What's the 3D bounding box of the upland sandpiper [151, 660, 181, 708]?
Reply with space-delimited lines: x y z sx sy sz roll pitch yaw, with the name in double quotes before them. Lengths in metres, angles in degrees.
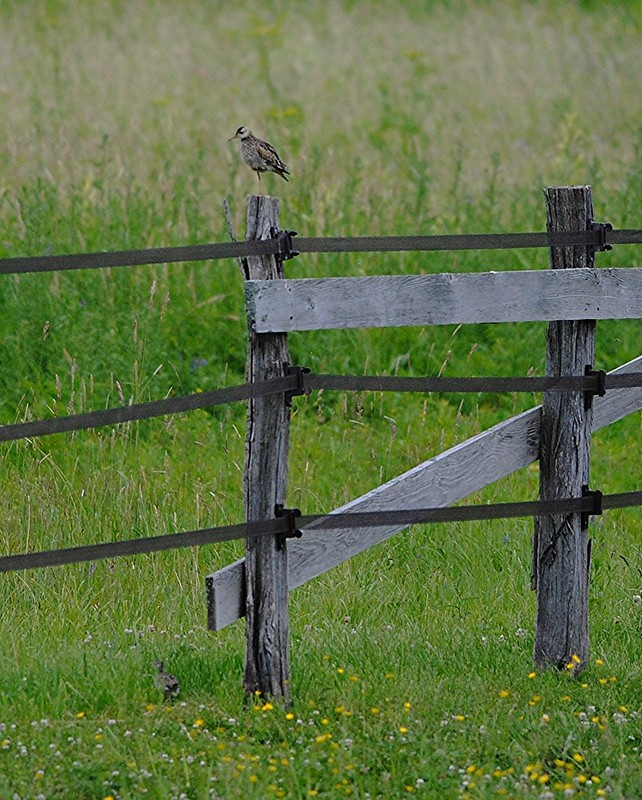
"upland sandpiper" -0.767 1.389 9.926 0.082 0.177 0.234 -7 21 -14
